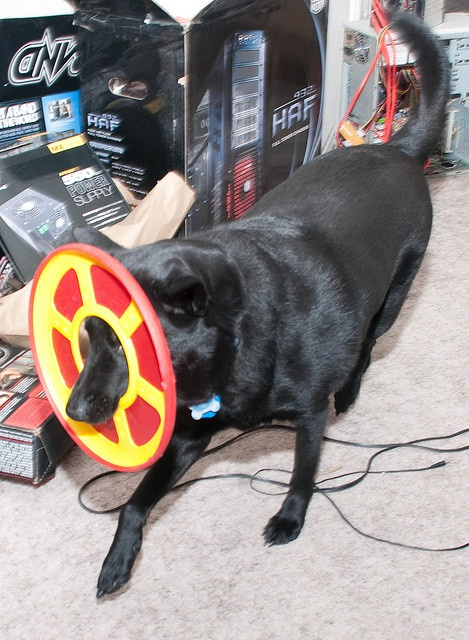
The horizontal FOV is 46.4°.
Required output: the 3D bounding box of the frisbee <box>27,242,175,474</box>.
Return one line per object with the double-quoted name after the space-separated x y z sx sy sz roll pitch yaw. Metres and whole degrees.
-0.213 0.072 0.829 0.080 0.400 0.354 -25 38 -32 "frisbee"
